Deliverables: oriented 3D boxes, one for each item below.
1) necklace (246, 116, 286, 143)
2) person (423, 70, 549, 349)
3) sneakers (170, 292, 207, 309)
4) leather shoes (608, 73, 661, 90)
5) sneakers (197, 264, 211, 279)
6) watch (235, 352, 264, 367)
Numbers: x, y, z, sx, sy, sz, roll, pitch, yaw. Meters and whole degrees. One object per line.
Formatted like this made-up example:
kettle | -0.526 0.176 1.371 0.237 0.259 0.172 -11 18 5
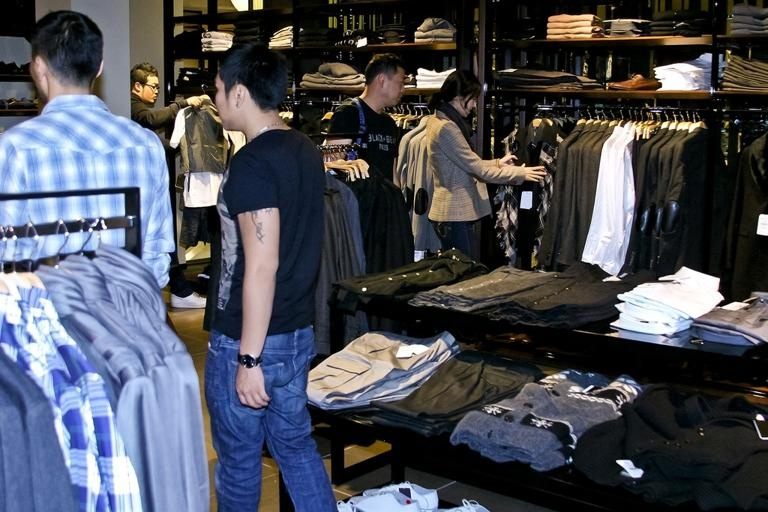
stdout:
necklace | -0.443 -0.460 2.141 0.127 0.031 0.098 -26 6 15
person | 0.788 -0.435 4.638 0.920 1.963 0.657 0 22 4
sneakers | -2.181 0.516 6.615 0.575 0.211 0.237 0 1 -10
leather shoes | 2.106 -1.445 4.902 0.316 0.104 0.185 2 10 4
sneakers | -2.110 0.184 6.839 0.176 0.099 0.291 -2 -16 -9
watch | -0.482 0.372 2.070 0.060 0.031 0.056 3 -3 9
